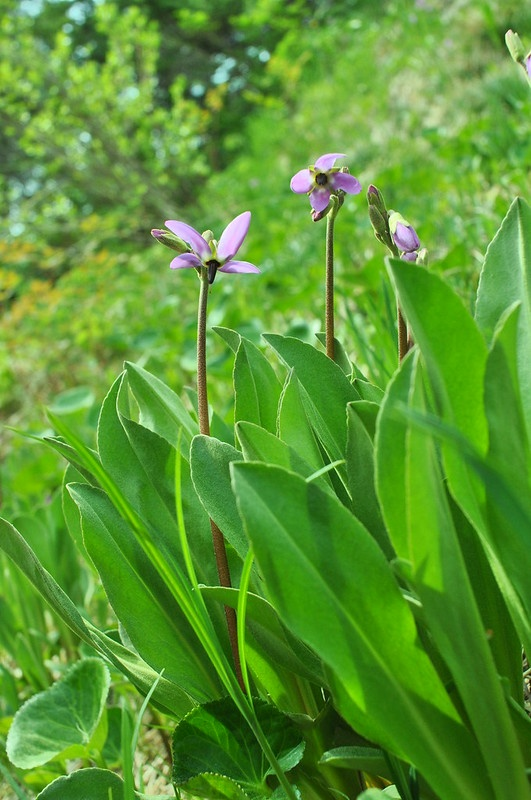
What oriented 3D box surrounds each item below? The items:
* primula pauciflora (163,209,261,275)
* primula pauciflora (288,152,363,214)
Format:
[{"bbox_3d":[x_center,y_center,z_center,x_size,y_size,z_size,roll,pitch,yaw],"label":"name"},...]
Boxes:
[{"bbox_3d":[-0.047,-0.143,0.683,0.076,0.075,0.031,1,78,17],"label":"primula pauciflora"},{"bbox_3d":[0.060,-0.224,0.768,0.062,0.056,0.019,2,26,2],"label":"primula pauciflora"}]
